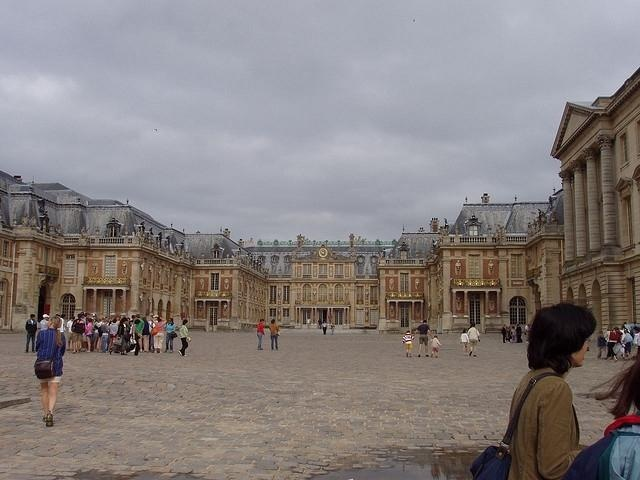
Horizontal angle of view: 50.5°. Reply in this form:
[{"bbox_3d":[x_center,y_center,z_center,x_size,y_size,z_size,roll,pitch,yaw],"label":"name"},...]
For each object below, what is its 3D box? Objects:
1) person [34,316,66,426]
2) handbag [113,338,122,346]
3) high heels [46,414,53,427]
[{"bbox_3d":[-4.720,2.283,11.846,0.463,1.847,0.820,3,-9,-22],"label":"person"},{"bbox_3d":[-8.559,4.335,28.812,0.286,0.338,0.268,-2,-9,10],"label":"handbag"},{"bbox_3d":[-4.565,3.055,11.479,0.143,0.203,0.243,3,-10,-22],"label":"high heels"}]
